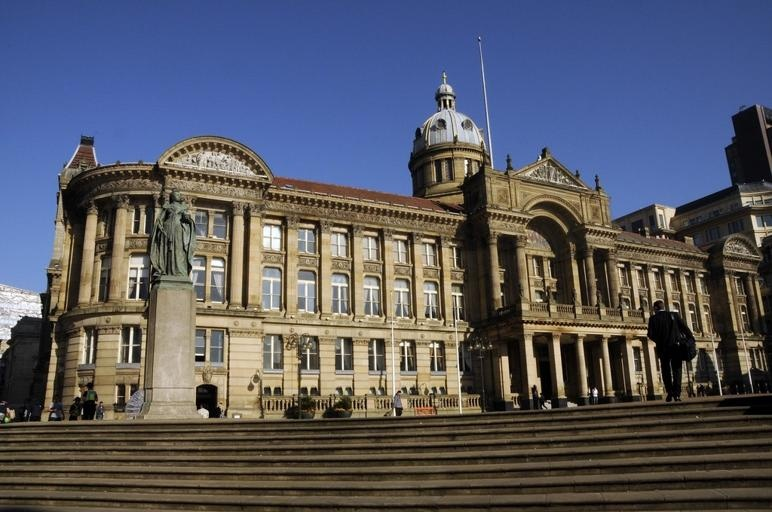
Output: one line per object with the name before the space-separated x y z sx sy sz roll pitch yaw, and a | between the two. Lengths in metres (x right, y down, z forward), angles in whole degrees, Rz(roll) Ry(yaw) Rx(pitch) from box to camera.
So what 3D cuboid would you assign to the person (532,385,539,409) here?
person | 11.432 10.671 53.967 0.584 1.873 1.375 -6 -21 11
